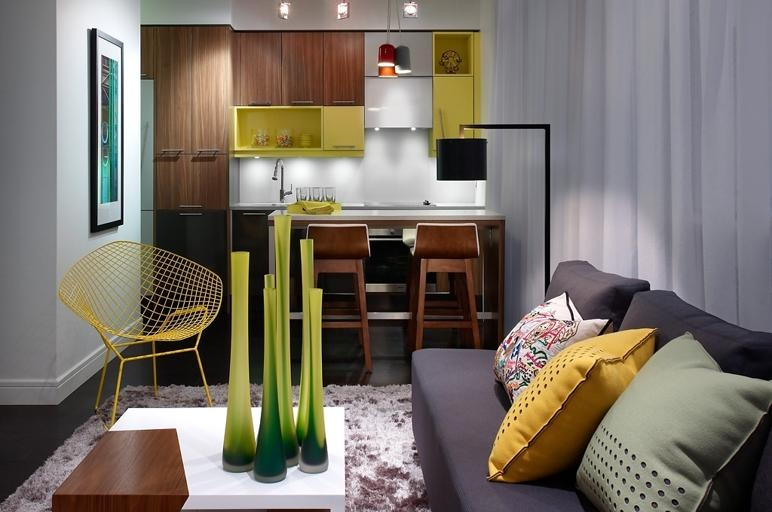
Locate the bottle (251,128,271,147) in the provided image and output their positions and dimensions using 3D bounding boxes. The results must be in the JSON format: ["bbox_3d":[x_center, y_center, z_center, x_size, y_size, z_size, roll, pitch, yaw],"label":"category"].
[{"bbox_3d":[-1.578,-1.443,6.816,0.224,0.248,0.239,0,5,4],"label":"bottle"}]

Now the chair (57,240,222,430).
[{"bbox_3d":[-1.843,0.336,4.228,1.124,1.490,1.372,2,2,43],"label":"chair"}]

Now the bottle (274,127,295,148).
[{"bbox_3d":[-1.277,-1.465,6.801,0.222,0.263,0.224,0,8,6],"label":"bottle"}]

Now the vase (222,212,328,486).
[{"bbox_3d":[-0.445,0.327,2.078,0.414,0.956,0.304,-2,6,-8],"label":"vase"}]
